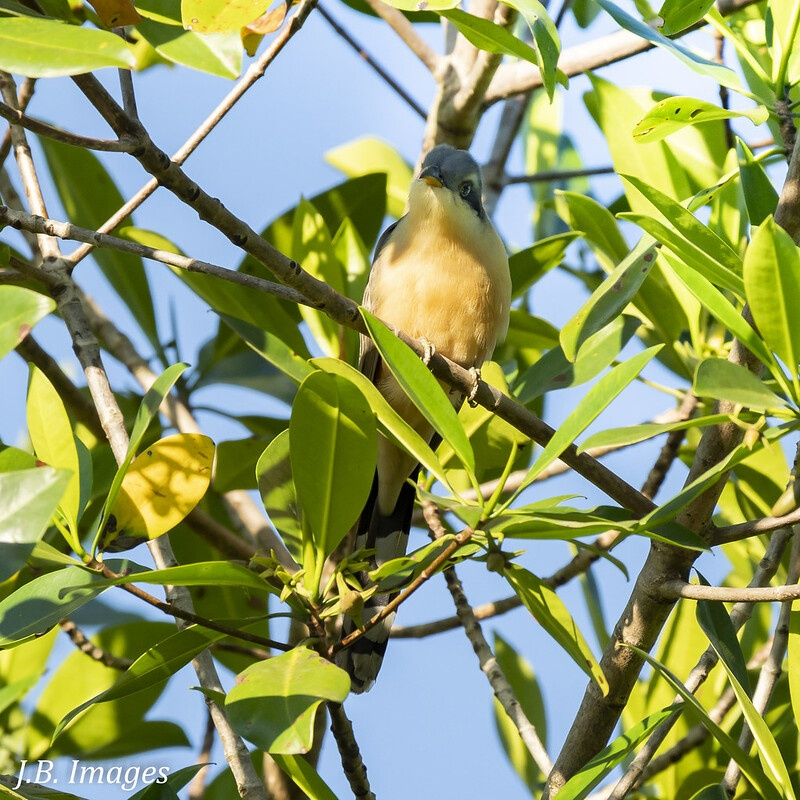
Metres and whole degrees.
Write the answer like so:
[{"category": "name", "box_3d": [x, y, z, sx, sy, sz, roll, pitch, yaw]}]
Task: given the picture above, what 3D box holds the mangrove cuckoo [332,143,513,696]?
[{"category": "mangrove cuckoo", "box_3d": [0.102, 0.009, 3.363, 0.368, 0.598, 1.535, 2, -91, -3]}]
